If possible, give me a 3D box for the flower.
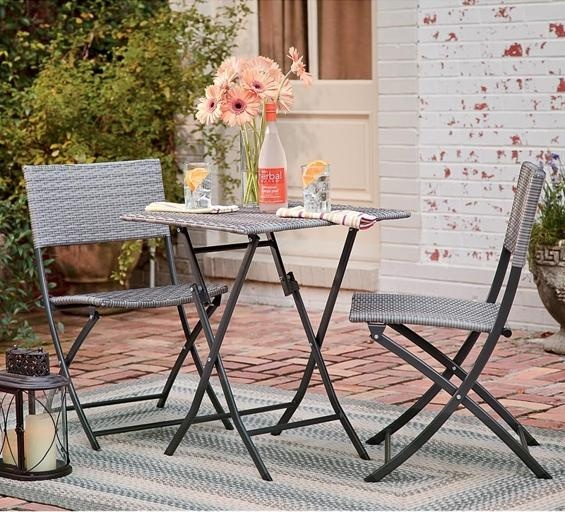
[{"bbox_3d":[-0.093,-0.652,2.219,0.375,0.381,0.529,-1,3,8],"label":"flower"}]

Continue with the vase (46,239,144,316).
[{"bbox_3d":[-1.450,0.175,5.027,0.995,0.694,0.751,0,0,0],"label":"vase"}]

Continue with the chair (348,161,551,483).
[{"bbox_3d":[0.554,0.194,1.896,0.651,1.015,0.641,-1,4,6],"label":"chair"}]
